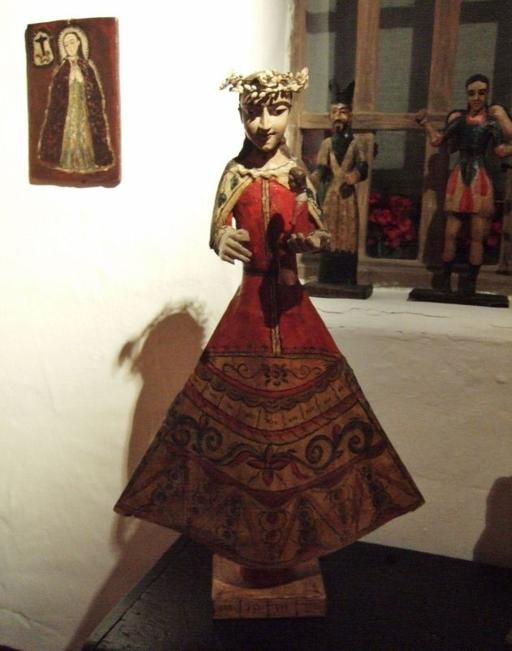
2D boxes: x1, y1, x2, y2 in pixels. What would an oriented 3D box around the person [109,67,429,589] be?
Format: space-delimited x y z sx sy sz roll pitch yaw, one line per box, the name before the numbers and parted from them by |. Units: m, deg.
person | 0.032 0.010 1.237 0.577 0.912 0.211 5 20 15
